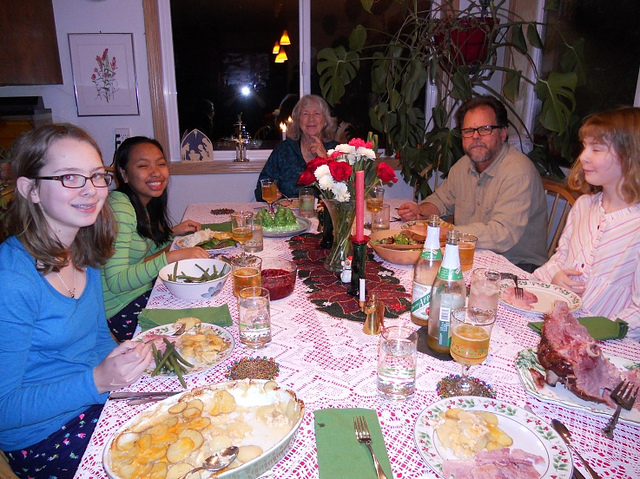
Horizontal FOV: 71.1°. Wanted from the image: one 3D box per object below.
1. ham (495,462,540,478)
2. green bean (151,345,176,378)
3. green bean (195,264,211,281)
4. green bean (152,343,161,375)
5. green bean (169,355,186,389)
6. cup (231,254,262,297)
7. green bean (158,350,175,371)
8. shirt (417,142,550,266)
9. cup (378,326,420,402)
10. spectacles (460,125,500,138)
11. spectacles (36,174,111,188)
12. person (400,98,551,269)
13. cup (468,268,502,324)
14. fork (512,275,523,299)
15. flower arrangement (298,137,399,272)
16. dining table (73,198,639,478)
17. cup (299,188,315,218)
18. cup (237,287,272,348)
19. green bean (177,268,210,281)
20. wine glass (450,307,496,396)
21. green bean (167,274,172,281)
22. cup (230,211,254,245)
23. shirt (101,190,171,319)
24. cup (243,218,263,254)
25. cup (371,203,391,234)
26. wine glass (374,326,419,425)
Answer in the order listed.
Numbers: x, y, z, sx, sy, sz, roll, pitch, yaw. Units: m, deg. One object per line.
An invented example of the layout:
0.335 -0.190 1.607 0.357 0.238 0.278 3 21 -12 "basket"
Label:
0.487 0.570 1.106 0.095 0.014 0.044 -3 16 -8 "ham"
-0.495 0.390 1.416 0.109 0.019 0.014 -55 23 -15 "green bean"
-0.491 0.137 1.915 0.021 0.033 0.138 -10 25 -18 "green bean"
-0.519 0.370 1.425 0.019 0.117 0.013 -16 -14 7 "green bean"
-0.442 0.402 1.388 0.015 0.029 0.138 -24 45 -10 "green bean"
-0.271 0.157 1.843 0.141 0.171 0.148 3 25 -1 "cup"
-0.481 0.384 1.411 0.013 0.065 0.017 -32 -17 -14 "green bean"
1.050 -0.220 2.784 0.556 0.658 0.554 -17 43 -10 "shirt"
0.233 0.382 1.343 0.126 0.211 0.121 1 22 0 "cup"
1.036 -0.701 2.914 0.231 0.081 0.086 6 17 22 "spectacles"
-0.852 -0.199 1.551 0.209 0.056 0.069 -13 20 -36 "spectacles"
1.025 -0.383 2.988 0.799 1.157 0.840 -21 34 -14 "person"
0.600 0.215 1.653 0.106 0.172 0.110 3 10 -1 "cup"
0.800 0.193 1.821 0.025 0.100 0.013 0 -12 -13 "fork"
0.121 -0.124 2.023 0.449 0.598 0.426 -4 12 -20 "flower arrangement"
0.186 0.184 1.650 1.681 0.514 1.302 -1 16 0 "dining table"
-0.102 -0.221 2.909 0.120 0.189 0.119 -2 6 0 "cup"
-0.229 0.291 1.580 0.114 0.188 0.115 -4 0 0 "cup"
-0.546 0.152 1.920 0.103 0.040 0.021 -8 31 -15 "green bean"
0.464 0.350 1.379 0.143 0.244 0.140 -10 24 -19 "wine glass"
-0.614 0.162 1.844 0.015 0.020 0.021 1 5 -5 "green bean"
-0.402 -0.051 2.321 0.106 0.180 0.114 2 18 -1 "cup"
-0.885 0.082 2.133 0.327 0.545 0.377 -7 37 -14 "shirt"
-0.309 -0.022 2.319 0.108 0.194 0.115 -7 1 0 "cup"
0.330 -0.112 2.607 0.165 0.182 0.134 0 10 1 "cup"
0.224 0.387 1.330 0.129 0.212 0.225 2 16 11 "wine glass"
